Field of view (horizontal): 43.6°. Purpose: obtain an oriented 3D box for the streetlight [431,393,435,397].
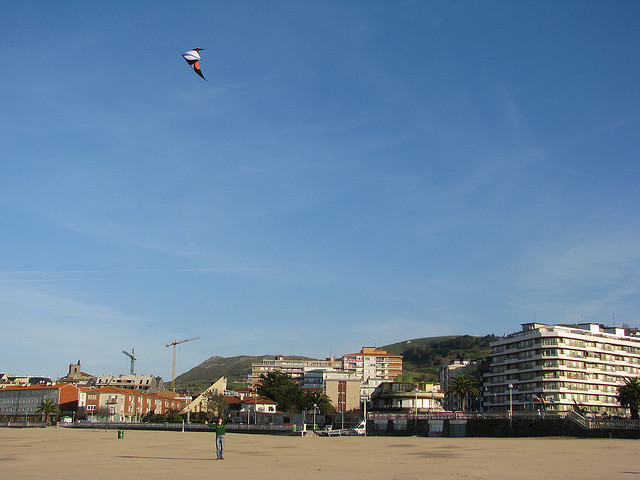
[{"bbox_3d":[19.178,26.407,136.575,0.653,0.534,0.285,4,-19,-12],"label":"streetlight"}]
